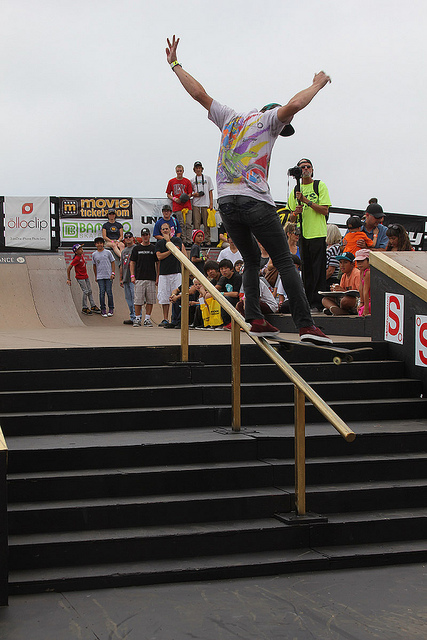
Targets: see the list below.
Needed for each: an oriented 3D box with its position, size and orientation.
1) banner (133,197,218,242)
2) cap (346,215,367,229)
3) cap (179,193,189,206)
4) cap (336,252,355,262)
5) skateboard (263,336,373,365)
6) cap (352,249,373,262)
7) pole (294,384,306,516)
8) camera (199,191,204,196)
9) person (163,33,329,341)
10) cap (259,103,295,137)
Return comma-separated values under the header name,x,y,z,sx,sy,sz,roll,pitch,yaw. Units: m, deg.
name,x,y,z,sx,sy,sz,roll,pitch,yaw
banner,-0.807,-2.250,16.211,1.985,0.949,1.484,0,7,-7
cap,1.859,-1.290,9.514,0.258,0.153,0.235,-1,8,-17
cap,-0.586,-2.476,14.665,0.166,0.197,0.158,15,-18,9
cap,1.625,-0.773,8.698,0.180,0.093,0.118,4,-3,-33
skateboard,0.765,0.233,5.334,0.202,0.132,0.920,-5,4,-37
cap,1.640,-0.720,7.866,0.145,0.076,0.095,-11,-9,-43
pole,0.503,0.744,4.129,0.077,0.721,0.237,2,8,6
camera,-0.241,-2.663,15.063,0.102,0.089,0.064,0,8,-13
person,0.243,-0.843,4.560,1.060,1.881,0.416,3,8,13
cap,0.389,-1.216,4.366,0.207,0.252,0.563,2,7,4
